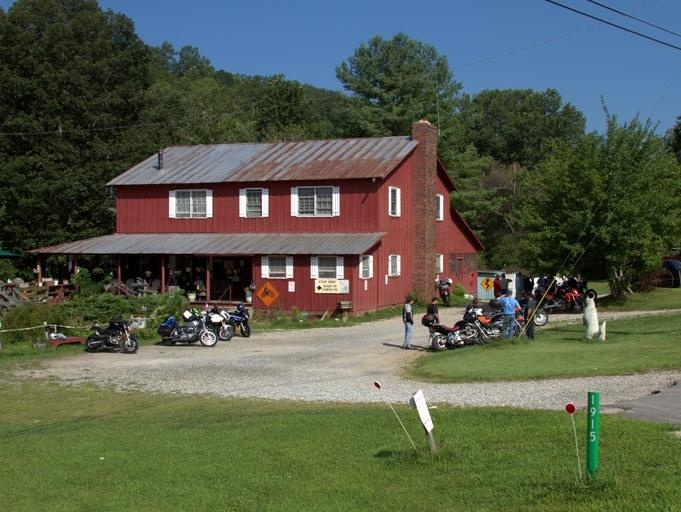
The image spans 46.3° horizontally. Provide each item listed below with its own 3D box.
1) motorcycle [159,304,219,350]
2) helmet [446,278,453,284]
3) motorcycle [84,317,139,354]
[{"bbox_3d":[-6.547,3.077,34.677,2.405,1.714,1.405,0,-9,-2],"label":"motorcycle"},{"bbox_3d":[7.038,1.614,51.721,0.367,0.202,0.519,4,-4,-36],"label":"helmet"},{"bbox_3d":[-9.299,3.305,32.600,2.142,1.348,1.065,-4,-6,26],"label":"motorcycle"}]
